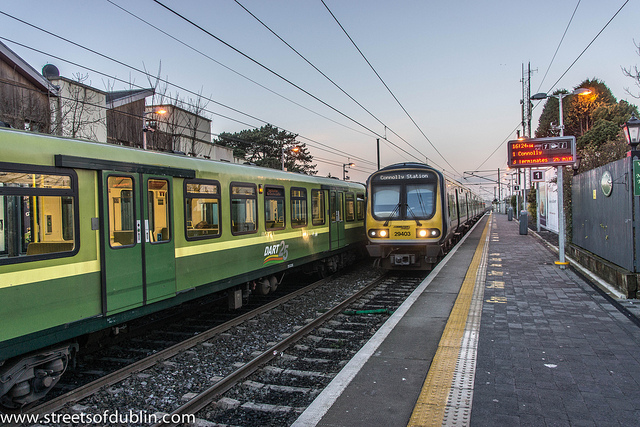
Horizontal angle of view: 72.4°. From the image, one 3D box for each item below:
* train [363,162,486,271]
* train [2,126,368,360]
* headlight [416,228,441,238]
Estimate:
[{"bbox_3d":[4.043,0.123,16.120,2.298,3.965,6.126,0,7,33],"label":"train"},{"bbox_3d":[-2.722,0.251,9.679,1.416,3.840,7.922,1,7,39],"label":"train"},{"bbox_3d":[3.438,0.617,13.773,0.759,0.309,0.085,-2,6,7],"label":"headlight"}]
